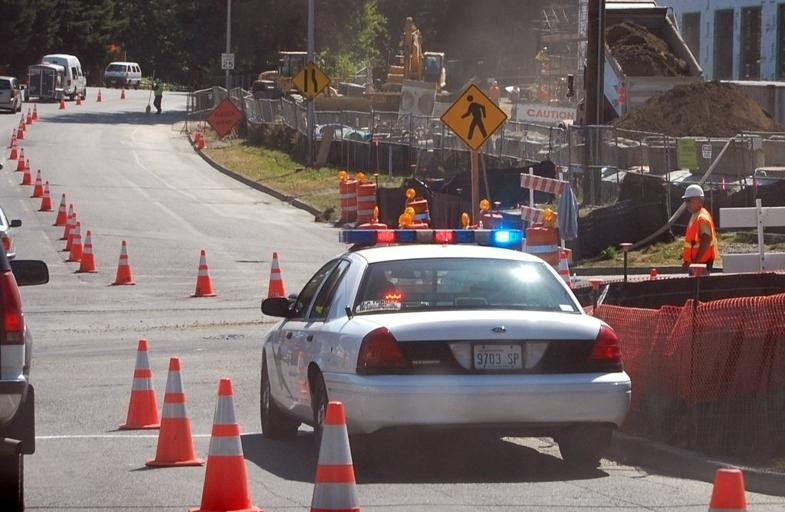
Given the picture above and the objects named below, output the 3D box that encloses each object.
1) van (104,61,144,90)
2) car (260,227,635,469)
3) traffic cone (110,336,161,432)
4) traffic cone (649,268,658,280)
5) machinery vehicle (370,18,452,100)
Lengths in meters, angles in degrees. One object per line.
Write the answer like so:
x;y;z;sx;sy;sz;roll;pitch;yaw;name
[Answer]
-19.671;-12.898;108.550;1.539;1.560;2.777;-1;11;-19;van
0.826;1.656;23.001;5.467;3.335;1.794;-2;10;6;car
-4.172;2.085;24.212;0.651;1.503;0.696;-1;0;4;traffic cone
5.595;0.416;32.137;0.211;0.324;0.196;-2;5;-15;traffic cone
0.560;-8.866;68.543;2.355;5.057;8.468;3;10;10;machinery vehicle
